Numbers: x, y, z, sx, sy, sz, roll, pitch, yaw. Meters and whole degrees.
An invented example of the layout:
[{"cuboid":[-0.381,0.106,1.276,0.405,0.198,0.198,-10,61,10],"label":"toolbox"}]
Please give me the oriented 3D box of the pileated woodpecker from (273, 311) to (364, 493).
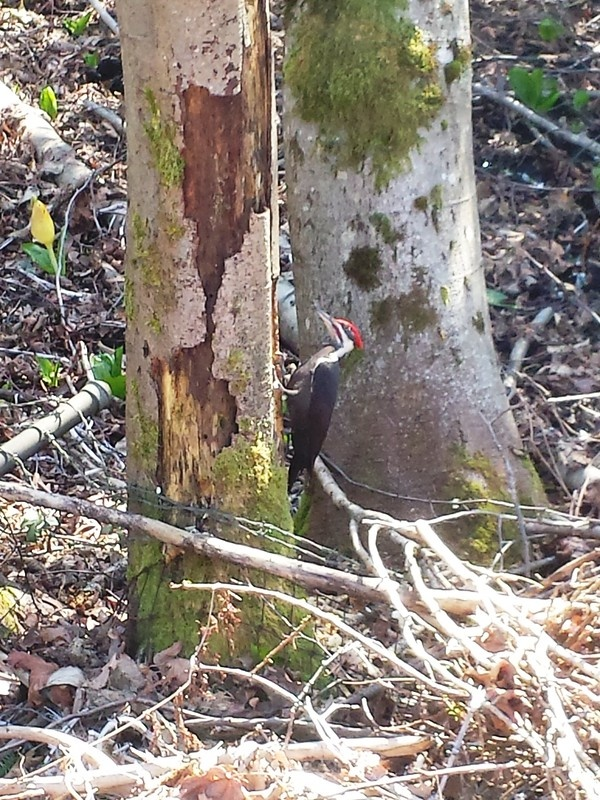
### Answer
[{"cuboid":[0.070,0.075,4.801,0.232,0.762,0.613,11,34,11],"label":"pileated woodpecker"}]
